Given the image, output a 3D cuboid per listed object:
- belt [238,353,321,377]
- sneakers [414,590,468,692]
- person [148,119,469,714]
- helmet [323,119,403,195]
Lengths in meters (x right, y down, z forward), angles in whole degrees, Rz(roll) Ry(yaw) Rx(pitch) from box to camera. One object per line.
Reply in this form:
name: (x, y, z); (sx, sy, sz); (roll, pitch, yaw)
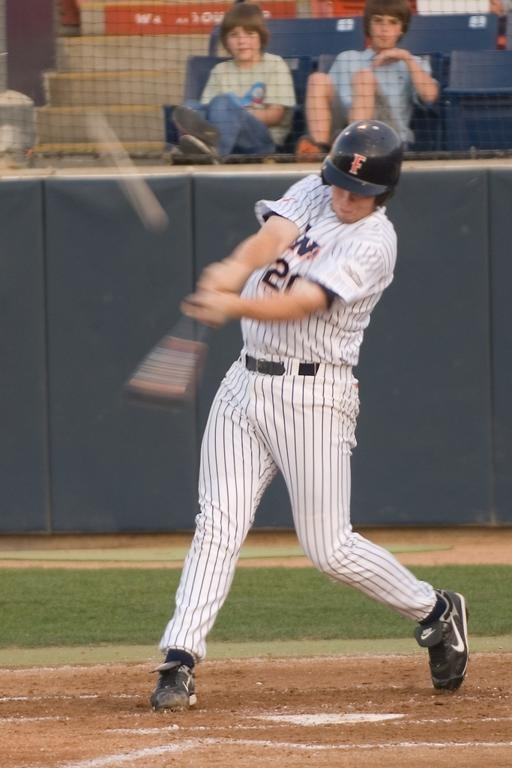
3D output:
belt: (0.062, -0.038, 2.864); (0.090, 0.020, 0.088); (3, -7, 30)
sneakers: (0.504, 0.664, 3.081); (0.111, 0.283, 0.137); (-6, -3, 33)
person: (0.166, 0.069, 3.103); (0.899, 1.362, 0.666); (0, 3, 5)
helmet: (0.256, -0.546, 2.875); (0.196, 0.184, 0.195); (2, 11, -6)
